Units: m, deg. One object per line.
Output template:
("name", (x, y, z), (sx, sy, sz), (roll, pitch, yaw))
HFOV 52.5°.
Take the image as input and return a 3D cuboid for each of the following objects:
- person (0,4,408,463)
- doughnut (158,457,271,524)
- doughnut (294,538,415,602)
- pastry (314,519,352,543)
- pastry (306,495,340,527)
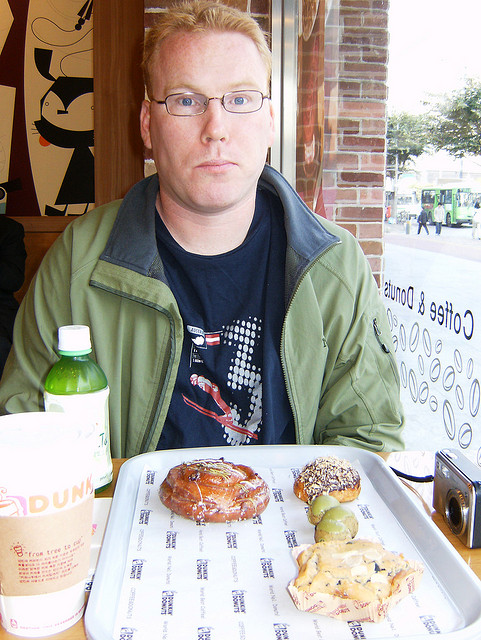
("person", (-0.101, -0.179, 1.132), (0.917, 1.036, 0.450), (1, 7, 4))
("doughnut", (-0.032, 0.210, 0.618), (0.110, 0.054, 0.095), (-10, 16, -36))
("doughnut", (0.107, 0.231, 0.459), (0.108, 0.016, 0.091), (2, 8, 9))
("pastry", (0.103, 0.222, 0.537), (0.030, 0.024, 0.027), (-5, 2, 40))
("pastry", (0.098, 0.225, 0.575), (0.032, 0.026, 0.032), (1, -5, -16))
